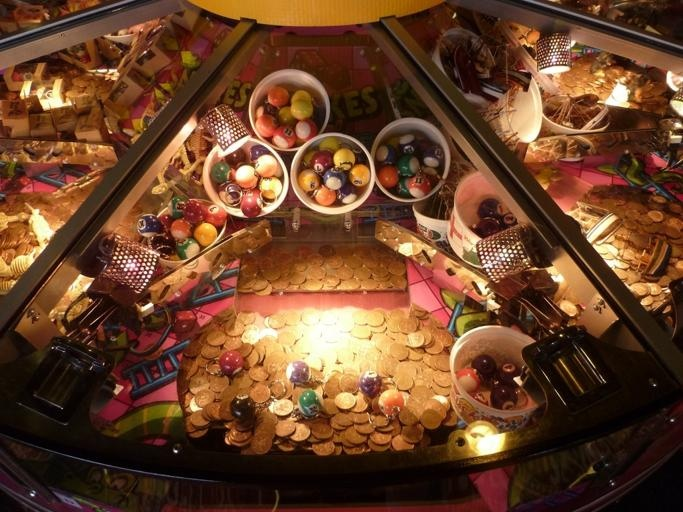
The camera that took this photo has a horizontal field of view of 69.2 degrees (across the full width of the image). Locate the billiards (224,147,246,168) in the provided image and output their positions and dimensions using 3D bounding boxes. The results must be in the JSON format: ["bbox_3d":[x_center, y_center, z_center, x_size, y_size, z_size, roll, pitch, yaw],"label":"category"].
[{"bbox_3d":[-0.424,-0.392,2.004,0.080,0.077,0.087,8,-89,-36],"label":"billiards"}]

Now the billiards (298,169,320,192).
[{"bbox_3d":[-0.123,-0.291,1.966,0.084,0.091,0.079,1,-25,-20],"label":"billiards"}]

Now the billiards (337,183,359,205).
[{"bbox_3d":[0.027,-0.234,1.931,0.078,0.074,0.081,5,-100,16],"label":"billiards"}]

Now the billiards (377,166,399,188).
[{"bbox_3d":[0.182,-0.308,1.980,0.084,0.080,0.091,0,-104,-4],"label":"billiards"}]

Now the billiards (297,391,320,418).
[{"bbox_3d":[-0.089,0.479,1.596,0.078,0.074,0.084,-5,-98,17],"label":"billiards"}]

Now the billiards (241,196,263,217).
[{"bbox_3d":[-0.345,-0.187,1.898,0.079,0.076,0.084,2,-86,-19],"label":"billiards"}]

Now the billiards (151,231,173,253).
[{"bbox_3d":[-0.661,-0.043,1.841,0.090,0.061,0.041,33,-63,-23],"label":"billiards"}]

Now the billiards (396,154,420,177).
[{"bbox_3d":[0.249,-0.348,1.953,0.083,0.091,0.078,4,-43,-21],"label":"billiards"}]

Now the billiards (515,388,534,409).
[{"bbox_3d":[0.530,0.421,1.449,0.053,0.051,0.037,-7,-74,-5],"label":"billiards"}]

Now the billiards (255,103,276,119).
[{"bbox_3d":[-0.302,-0.586,2.000,0.074,0.040,0.054,-2,-71,5],"label":"billiards"}]

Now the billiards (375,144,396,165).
[{"bbox_3d":[0.170,-0.397,1.951,0.075,0.072,0.081,-1,-73,-14],"label":"billiards"}]

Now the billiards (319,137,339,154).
[{"bbox_3d":[-0.047,-0.436,1.956,0.048,0.054,0.046,23,-46,-24],"label":"billiards"}]

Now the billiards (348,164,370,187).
[{"bbox_3d":[0.070,-0.307,1.907,0.081,0.078,0.088,6,-85,3],"label":"billiards"}]

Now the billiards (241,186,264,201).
[{"bbox_3d":[-0.346,-0.247,1.951,0.058,0.066,0.055,-1,-61,-17],"label":"billiards"}]

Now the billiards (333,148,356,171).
[{"bbox_3d":[0.012,-0.371,1.955,0.086,0.082,0.092,3,-99,-10],"label":"billiards"}]

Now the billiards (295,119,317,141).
[{"bbox_3d":[-0.143,-0.500,1.969,0.077,0.075,0.088,14,-107,14],"label":"billiards"}]

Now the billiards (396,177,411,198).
[{"bbox_3d":[0.226,-0.264,1.927,0.071,0.070,0.079,1,-83,-4],"label":"billiards"}]

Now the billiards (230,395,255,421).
[{"bbox_3d":[-0.300,0.467,1.521,0.069,0.066,0.055,4,-64,3],"label":"billiards"}]

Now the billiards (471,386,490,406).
[{"bbox_3d":[0.440,0.442,1.553,0.063,0.086,0.021,-1,-56,-1],"label":"billiards"}]

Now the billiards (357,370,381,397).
[{"bbox_3d":[0.094,0.416,1.609,0.075,0.098,0.071,4,-100,4],"label":"billiards"}]

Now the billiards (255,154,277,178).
[{"bbox_3d":[-0.295,-0.355,2.010,0.090,0.087,0.097,-9,-92,-18],"label":"billiards"}]

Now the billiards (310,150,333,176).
[{"bbox_3d":[-0.071,-0.365,1.975,0.077,0.094,0.075,14,-25,3],"label":"billiards"}]

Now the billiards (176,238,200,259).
[{"bbox_3d":[-0.573,-0.025,1.900,0.075,0.076,0.082,16,-69,32],"label":"billiards"}]

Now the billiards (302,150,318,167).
[{"bbox_3d":[-0.122,-0.388,1.985,0.038,0.067,0.056,39,-61,-22],"label":"billiards"}]

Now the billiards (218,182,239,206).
[{"bbox_3d":[-0.430,-0.239,1.940,0.082,0.068,0.082,-11,-73,-3],"label":"billiards"}]

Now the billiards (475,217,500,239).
[{"bbox_3d":[0.498,-0.098,1.704,0.086,0.075,0.034,-31,-60,18],"label":"billiards"}]

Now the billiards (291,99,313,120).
[{"bbox_3d":[-0.159,-0.578,1.966,0.084,0.065,0.064,-20,-98,-1],"label":"billiards"}]

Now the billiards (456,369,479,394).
[{"bbox_3d":[0.405,0.401,1.589,0.077,0.075,0.041,6,-56,-6],"label":"billiards"}]

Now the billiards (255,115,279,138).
[{"bbox_3d":[-0.304,-0.516,1.984,0.082,0.057,0.083,26,-60,-19],"label":"billiards"}]

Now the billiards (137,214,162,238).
[{"bbox_3d":[-0.684,-0.115,1.807,0.084,0.063,0.062,-24,-54,-18],"label":"billiards"}]

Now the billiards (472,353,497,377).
[{"bbox_3d":[0.460,0.353,1.603,0.067,0.065,0.064,11,-100,9],"label":"billiards"}]

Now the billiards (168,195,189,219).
[{"bbox_3d":[-0.620,-0.188,1.881,0.077,0.084,0.072,-2,-21,7],"label":"billiards"}]

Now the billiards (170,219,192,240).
[{"bbox_3d":[-0.603,-0.104,1.880,0.079,0.076,0.085,-11,-79,-23],"label":"billiards"}]

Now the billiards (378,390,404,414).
[{"bbox_3d":[0.160,0.464,1.570,0.072,0.070,0.091,7,-84,10],"label":"billiards"}]

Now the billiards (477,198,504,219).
[{"bbox_3d":[0.510,-0.162,1.707,0.064,0.035,0.061,15,-84,23],"label":"billiards"}]

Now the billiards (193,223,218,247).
[{"bbox_3d":[-0.532,-0.084,1.938,0.086,0.087,0.095,12,-68,32],"label":"billiards"}]

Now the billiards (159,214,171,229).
[{"bbox_3d":[-0.655,-0.131,1.858,0.045,0.043,0.051,8,-42,2],"label":"billiards"}]

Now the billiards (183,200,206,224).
[{"bbox_3d":[-0.555,-0.171,1.922,0.083,0.084,0.094,-3,-84,28],"label":"billiards"}]

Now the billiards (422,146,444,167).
[{"bbox_3d":[0.352,-0.376,1.896,0.076,0.076,0.084,10,-90,22],"label":"billiards"}]

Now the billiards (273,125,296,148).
[{"bbox_3d":[-0.222,-0.476,2.017,0.086,0.083,0.092,10,-92,-7],"label":"billiards"}]

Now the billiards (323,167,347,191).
[{"bbox_3d":[-0.023,-0.296,1.932,0.078,0.084,0.082,10,-65,2],"label":"billiards"}]

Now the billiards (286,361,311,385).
[{"bbox_3d":[-0.140,0.385,1.630,0.079,0.074,0.085,2,-108,-15],"label":"billiards"}]

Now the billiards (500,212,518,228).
[{"bbox_3d":[0.551,-0.119,1.655,0.039,0.047,0.052,33,-57,23],"label":"billiards"}]

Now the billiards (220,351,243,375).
[{"bbox_3d":[-0.367,0.360,1.653,0.075,0.071,0.054,4,-26,-6],"label":"billiards"}]
